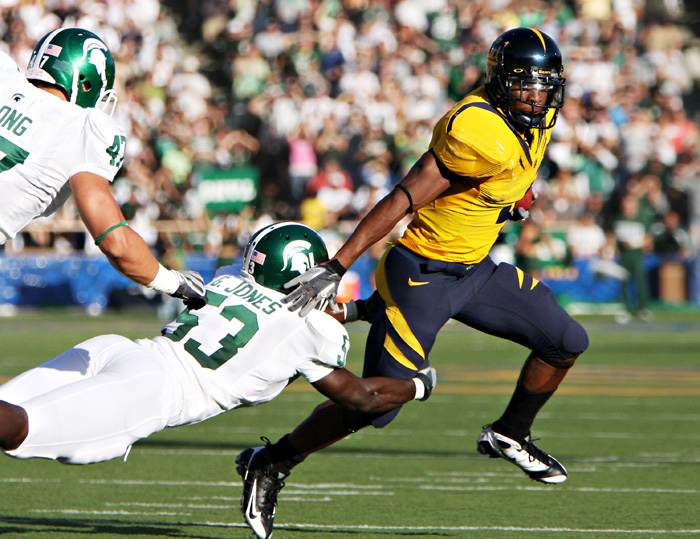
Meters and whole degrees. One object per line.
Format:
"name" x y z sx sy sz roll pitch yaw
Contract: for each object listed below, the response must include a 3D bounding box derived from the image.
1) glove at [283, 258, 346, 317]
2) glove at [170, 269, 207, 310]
"glove" -0.171 0.084 5.105 0.183 0.079 0.288 51 47 7
"glove" -0.702 0.090 4.937 0.144 0.172 0.205 -11 0 5
